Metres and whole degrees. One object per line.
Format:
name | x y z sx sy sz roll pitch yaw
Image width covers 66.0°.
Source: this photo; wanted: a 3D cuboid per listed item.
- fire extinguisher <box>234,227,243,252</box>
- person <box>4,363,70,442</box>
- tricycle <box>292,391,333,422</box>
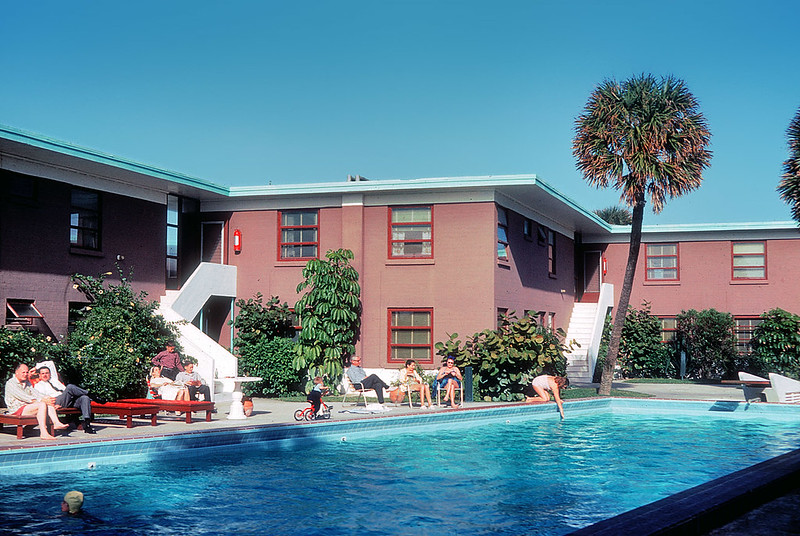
fire extinguisher | -6.524 -1.048 24.791 0.350 0.967 0.247 2 -3 -3
person | -7.931 2.840 13.282 1.418 1.478 0.758 0 -3 23
tricycle | -2.331 3.735 16.879 0.686 0.797 1.337 0 -2 37
